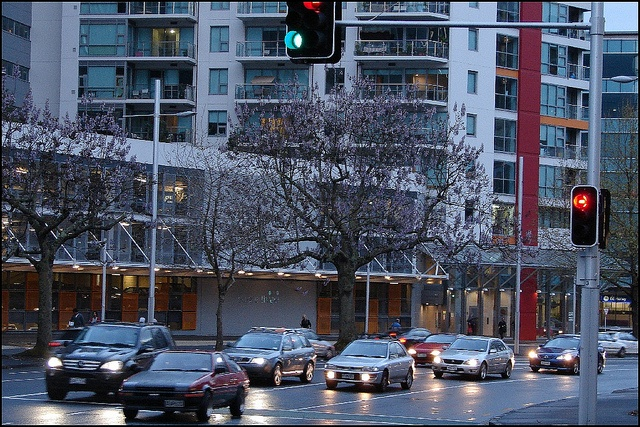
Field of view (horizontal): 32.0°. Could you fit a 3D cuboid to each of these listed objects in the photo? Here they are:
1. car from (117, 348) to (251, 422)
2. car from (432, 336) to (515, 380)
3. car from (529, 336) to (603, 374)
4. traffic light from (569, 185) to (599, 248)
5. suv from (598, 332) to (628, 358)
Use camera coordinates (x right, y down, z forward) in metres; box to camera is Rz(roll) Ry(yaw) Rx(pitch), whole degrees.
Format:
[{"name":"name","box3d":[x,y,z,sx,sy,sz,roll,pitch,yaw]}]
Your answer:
[{"name":"car","box3d":[-5.920,7.488,48.500,5.355,2.972,2.094,0,-3,-11]},{"name":"car","box3d":[8.589,8.009,61.755,4.429,2.305,2.270,1,-3,-36]},{"name":"car","box3d":[15.445,8.346,66.994,2.837,1.998,6.105,-5,-11,38]},{"name":"traffic light","box3d":[10.814,0.117,45.317,1.132,2.533,0.260,-1,-2,10]},{"name":"suv","box3d":[21.204,9.564,80.705,2.759,1.660,1.265,2,-4,-41]}]
